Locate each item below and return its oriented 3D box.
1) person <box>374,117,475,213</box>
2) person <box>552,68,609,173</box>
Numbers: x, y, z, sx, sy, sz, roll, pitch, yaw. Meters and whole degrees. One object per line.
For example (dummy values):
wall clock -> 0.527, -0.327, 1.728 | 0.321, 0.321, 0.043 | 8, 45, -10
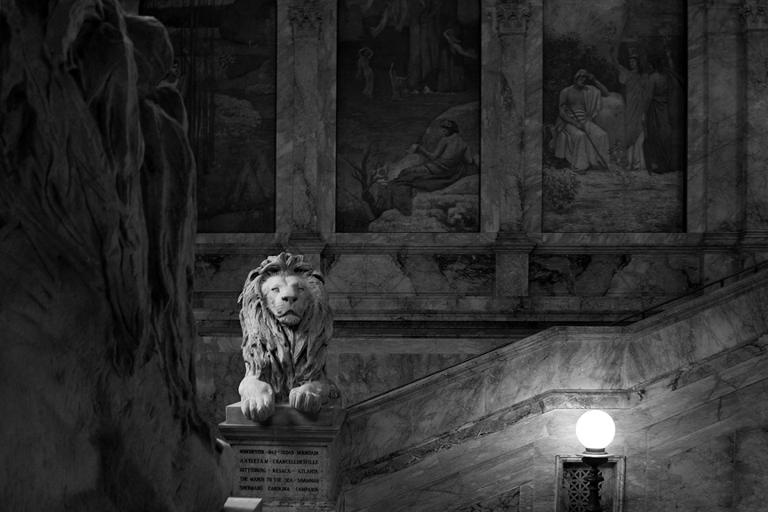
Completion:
person -> 0.602, -1.315, 32.196 | 1.577, 1.280, 0.666 | 7, 7, 35
person -> 2.765, -1.917, 31.750 | 0.795, 1.071, 0.993 | -1, -41, 3
